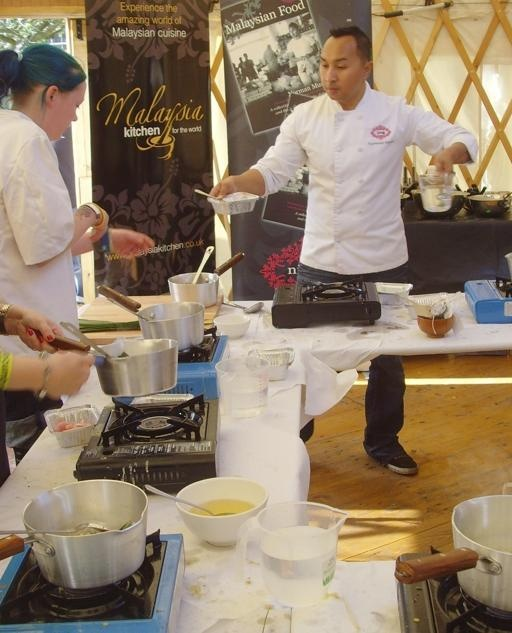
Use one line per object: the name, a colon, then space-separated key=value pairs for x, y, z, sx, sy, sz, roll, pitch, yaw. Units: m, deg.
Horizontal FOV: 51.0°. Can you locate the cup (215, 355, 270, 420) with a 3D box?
cup: x=-0.042 y=0.181 z=1.312 sx=0.129 sy=0.133 sz=0.163 roll=10 pitch=14 yaw=44

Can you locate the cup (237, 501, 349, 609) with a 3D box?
cup: x=0.044 y=0.294 z=0.667 sx=0.143 sy=0.090 sz=0.104 roll=-3 pitch=2 yaw=8

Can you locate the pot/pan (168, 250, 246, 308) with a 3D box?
pot/pan: x=-0.162 y=-0.154 z=2.154 sx=0.184 sy=0.127 sz=0.419 roll=13 pitch=28 yaw=35

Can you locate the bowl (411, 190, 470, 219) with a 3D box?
bowl: x=1.227 y=-0.729 z=3.613 sx=0.364 sy=0.158 sz=0.346 roll=-2 pitch=19 yaw=1

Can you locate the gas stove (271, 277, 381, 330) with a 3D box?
gas stove: x=0.259 y=-0.048 z=2.024 sx=0.275 sy=0.100 sz=0.245 roll=-3 pitch=13 yaw=4

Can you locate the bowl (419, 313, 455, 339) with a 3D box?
bowl: x=0.617 y=0.027 z=1.830 sx=0.098 sy=0.053 sz=0.091 roll=-1 pitch=7 yaw=0

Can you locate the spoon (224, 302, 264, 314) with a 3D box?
spoon: x=-0.044 y=-0.045 z=2.322 sx=0.056 sy=0.040 sz=0.251 roll=-28 pitch=19 yaw=-36

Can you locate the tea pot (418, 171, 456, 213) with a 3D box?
tea pot: x=0.780 y=-0.531 z=2.289 sx=0.180 sy=0.184 sz=0.179 roll=-9 pitch=17 yaw=3

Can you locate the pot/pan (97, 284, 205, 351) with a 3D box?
pot/pan: x=-0.318 y=-0.005 z=1.498 sx=0.367 sy=0.116 sz=0.147 roll=9 pitch=23 yaw=28

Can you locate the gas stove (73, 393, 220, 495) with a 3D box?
gas stove: x=-0.192 y=0.239 z=1.051 sx=0.267 sy=0.108 sz=0.304 roll=-6 pitch=11 yaw=-7

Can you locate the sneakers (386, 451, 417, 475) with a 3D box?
sneakers: x=0.708 y=0.714 z=2.627 sx=0.086 sy=0.059 sz=0.152 roll=-2 pitch=-1 yaw=-21

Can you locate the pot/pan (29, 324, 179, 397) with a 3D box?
pot/pan: x=-0.272 y=0.087 z=1.047 sx=0.243 sy=0.126 sz=0.133 roll=-3 pitch=3 yaw=-38

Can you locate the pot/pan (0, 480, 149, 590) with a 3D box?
pot/pan: x=-0.200 y=0.255 z=0.629 sx=0.164 sy=0.056 sz=0.090 roll=-7 pitch=18 yaw=-31

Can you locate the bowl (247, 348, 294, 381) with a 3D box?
bowl: x=0.044 y=0.132 z=1.510 sx=0.093 sy=0.068 sz=0.107 roll=0 pitch=4 yaw=5
